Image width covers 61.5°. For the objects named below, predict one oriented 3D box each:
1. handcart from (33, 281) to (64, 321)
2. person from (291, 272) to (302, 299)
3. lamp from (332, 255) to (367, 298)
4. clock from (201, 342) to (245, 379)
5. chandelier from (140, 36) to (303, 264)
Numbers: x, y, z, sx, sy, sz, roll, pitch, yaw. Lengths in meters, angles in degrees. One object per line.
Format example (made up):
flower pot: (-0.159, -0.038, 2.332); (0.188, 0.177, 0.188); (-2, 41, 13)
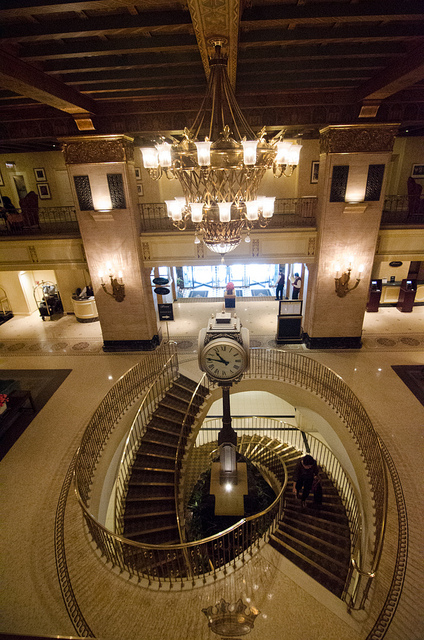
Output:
handcart: (-6.476, -0.779, 14.191); (0.882, 1.576, 1.287); (2, -3, -40)
person: (2.716, -1.098, 11.605); (0.271, 0.847, 0.705); (-1, -3, 12)
lamp: (3.521, -1.116, 9.355); (1.082, 1.134, 0.361); (6, 15, 7)
clock: (0.196, 0.604, 5.550); (0.566, 0.605, 0.554); (3, 13, 2)
chandelier: (0.155, -2.844, 5.952); (2.261, 3.778, 2.301); (-2, 28, 4)
